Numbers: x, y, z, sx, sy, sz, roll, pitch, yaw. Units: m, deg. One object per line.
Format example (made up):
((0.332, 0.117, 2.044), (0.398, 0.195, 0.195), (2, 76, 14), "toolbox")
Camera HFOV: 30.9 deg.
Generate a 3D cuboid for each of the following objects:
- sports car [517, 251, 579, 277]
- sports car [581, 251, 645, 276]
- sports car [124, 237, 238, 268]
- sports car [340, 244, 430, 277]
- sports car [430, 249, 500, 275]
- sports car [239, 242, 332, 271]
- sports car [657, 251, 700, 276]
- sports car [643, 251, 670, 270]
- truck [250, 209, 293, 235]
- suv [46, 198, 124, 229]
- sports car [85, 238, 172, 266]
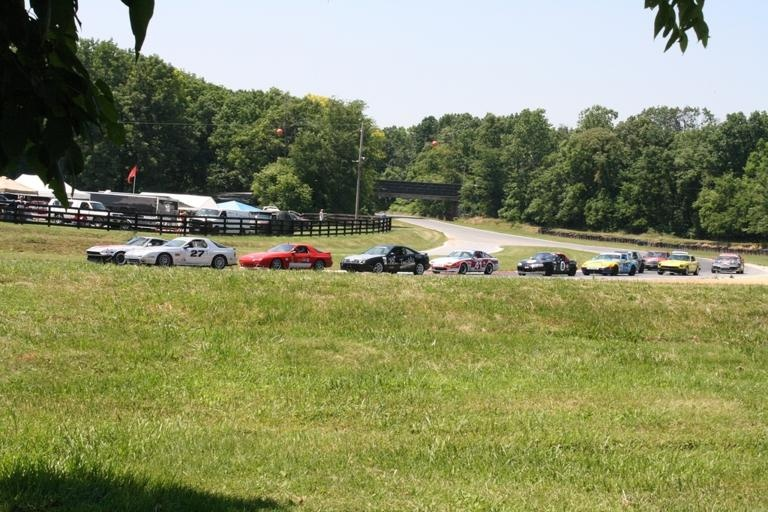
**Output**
((12.272, 0.616, 101.819), (3.373, 1.131, 1.946), (6, -6, -36), "sports car")
((17.267, 0.572, 105.194), (2.241, 1.656, 4.901), (9, 6, 44), "sports car")
((-13.594, -0.230, 93.254), (5.367, 1.608, 2.584), (6, -4, -40), "sports car")
((0.159, 0.117, 96.207), (6.607, 1.846, 1.833), (2, 5, -39), "sports car")
((6.096, 0.402, 101.032), (5.137, 1.669, 1.881), (3, 5, -30), "sports car")
((-6.537, -0.012, 94.995), (6.259, 1.719, 1.835), (2, 5, -36), "sports car")
((23.653, 0.559, 109.189), (1.652, 1.250, 3.523), (0, -3, 32), "sports car")
((22.452, 0.258, 113.898), (1.148, 0.785, 2.397), (-1, -3, 35), "sports car")
((-9.410, -3.035, 119.643), (3.406, 1.430, 16.960), (4, 4, -6), "truck")
((-22.840, -3.207, 105.642), (7.604, 2.855, 3.365), (-3, -2, 11), "suv")
((-17.424, -0.483, 92.568), (4.607, 1.640, 2.570), (2, 5, -40), "sports car")
